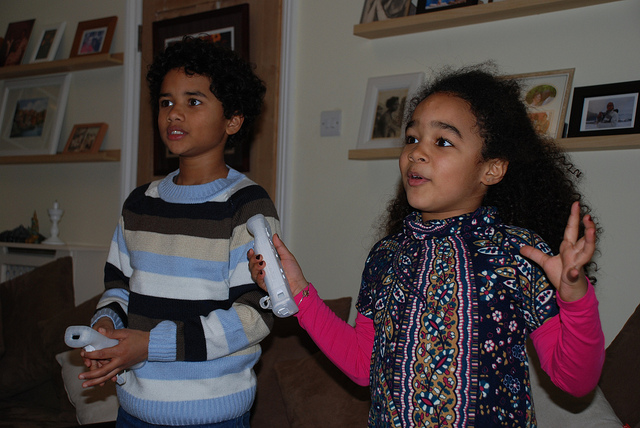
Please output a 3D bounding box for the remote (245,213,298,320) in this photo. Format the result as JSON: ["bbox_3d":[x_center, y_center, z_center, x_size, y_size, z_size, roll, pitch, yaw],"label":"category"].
[{"bbox_3d":[-0.177,0.120,1.556,0.086,0.380,0.106,-27,-28,16],"label":"remote"}]

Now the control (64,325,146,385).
[{"bbox_3d":[-0.593,0.374,1.554,0.244,0.127,0.062,8,-7,-20],"label":"control"}]

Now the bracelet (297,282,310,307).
[{"bbox_3d":[-0.047,0.227,1.513,0.017,0.070,0.016,11,-30,21],"label":"bracelet"}]

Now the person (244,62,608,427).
[{"bbox_3d":[0.368,0.080,1.515,0.779,0.989,0.397,5,8,9],"label":"person"}]

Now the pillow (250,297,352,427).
[{"bbox_3d":[-0.142,0.671,2.503,0.568,0.556,0.507,-3,-21,18],"label":"pillow"}]

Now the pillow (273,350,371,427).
[{"bbox_3d":[0.011,0.734,2.172,0.302,0.300,0.080,-10,-20,-21],"label":"pillow"}]
